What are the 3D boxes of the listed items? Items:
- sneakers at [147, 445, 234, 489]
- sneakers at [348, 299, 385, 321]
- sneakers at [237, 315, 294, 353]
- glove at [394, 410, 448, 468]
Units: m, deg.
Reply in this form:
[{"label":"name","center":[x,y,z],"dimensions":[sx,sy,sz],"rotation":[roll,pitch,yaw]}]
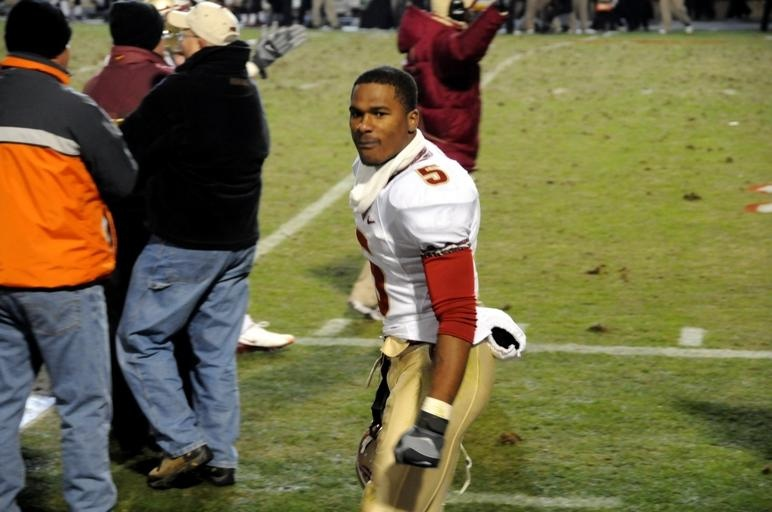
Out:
[{"label":"sneakers","center":[-0.920,1.089,6.074],"dimensions":[0.575,0.165,0.192],"rotation":[-6,-2,0]},{"label":"sneakers","center":[-0.116,0.358,7.506],"dimensions":[0.237,0.056,0.142],"rotation":[15,6,0]},{"label":"sneakers","center":[-0.735,0.481,7.263],"dimensions":[0.212,0.187,0.581],"rotation":[-24,11,-35]},{"label":"glove","center":[0.150,0.784,5.002],"dimensions":[0.203,0.241,0.147],"rotation":[6,13,3]}]
